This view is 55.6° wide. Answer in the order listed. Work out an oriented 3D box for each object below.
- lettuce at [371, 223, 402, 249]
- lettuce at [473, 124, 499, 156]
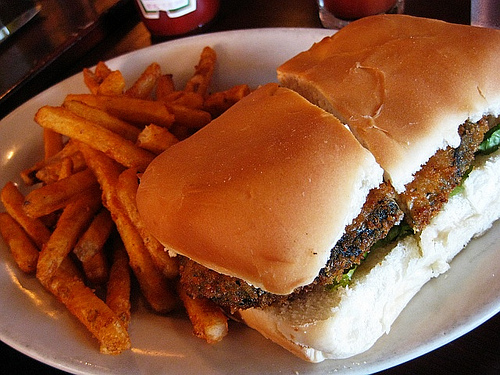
[{"bbox_3d":[0.685,0.241,2.370,0.137,0.109,0.037,-40,85,21],"label":"lettuce"},{"bbox_3d":[1.236,-0.232,2.437,0.171,0.111,0.043,-46,28,-1],"label":"lettuce"}]
